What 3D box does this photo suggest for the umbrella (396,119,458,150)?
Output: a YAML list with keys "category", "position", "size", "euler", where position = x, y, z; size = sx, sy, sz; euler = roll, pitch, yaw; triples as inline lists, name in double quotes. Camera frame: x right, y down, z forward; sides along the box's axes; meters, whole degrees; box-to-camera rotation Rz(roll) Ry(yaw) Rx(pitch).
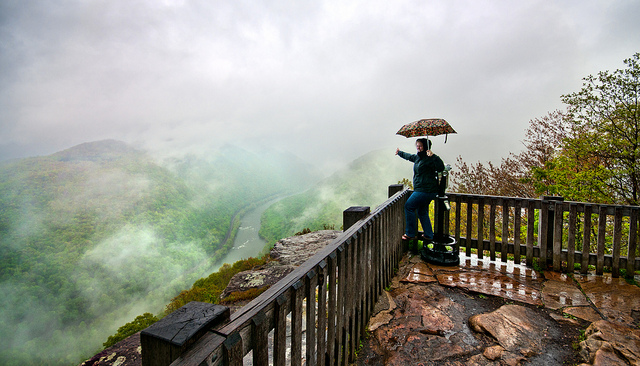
- category: "umbrella"
  position: [5.413, -2.499, 18.299]
  size: [2.546, 1.299, 2.456]
  euler: [-6, -7, 40]
